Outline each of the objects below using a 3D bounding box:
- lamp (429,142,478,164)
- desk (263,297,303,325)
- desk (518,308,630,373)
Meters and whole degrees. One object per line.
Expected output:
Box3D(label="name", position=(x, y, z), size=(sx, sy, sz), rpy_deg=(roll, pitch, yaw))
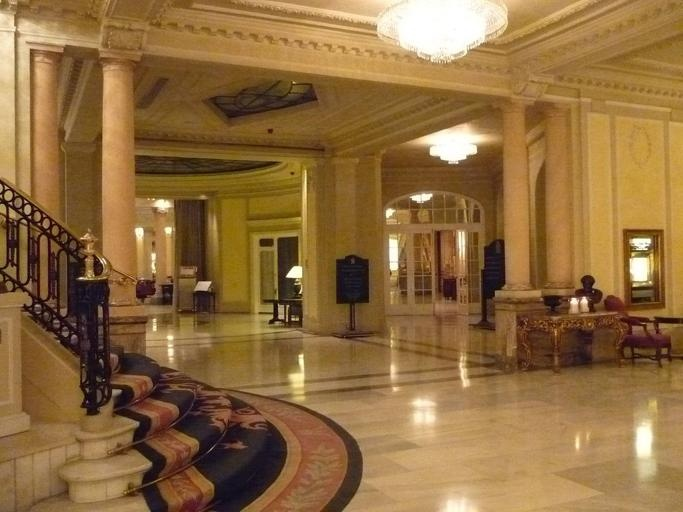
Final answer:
Box3D(label="lamp", position=(2.486, -2.357, 12.619), size=(0.870, 0.268, 0.781), rpy_deg=(0, 3, 20))
Box3D(label="desk", position=(-1.589, 1.560, 15.558), size=(0.949, 0.610, 1.484), rpy_deg=(1, 0, -1))
Box3D(label="desk", position=(3.464, 1.079, 8.719), size=(1.971, 0.720, 0.993), rpy_deg=(-2, 4, -33))
